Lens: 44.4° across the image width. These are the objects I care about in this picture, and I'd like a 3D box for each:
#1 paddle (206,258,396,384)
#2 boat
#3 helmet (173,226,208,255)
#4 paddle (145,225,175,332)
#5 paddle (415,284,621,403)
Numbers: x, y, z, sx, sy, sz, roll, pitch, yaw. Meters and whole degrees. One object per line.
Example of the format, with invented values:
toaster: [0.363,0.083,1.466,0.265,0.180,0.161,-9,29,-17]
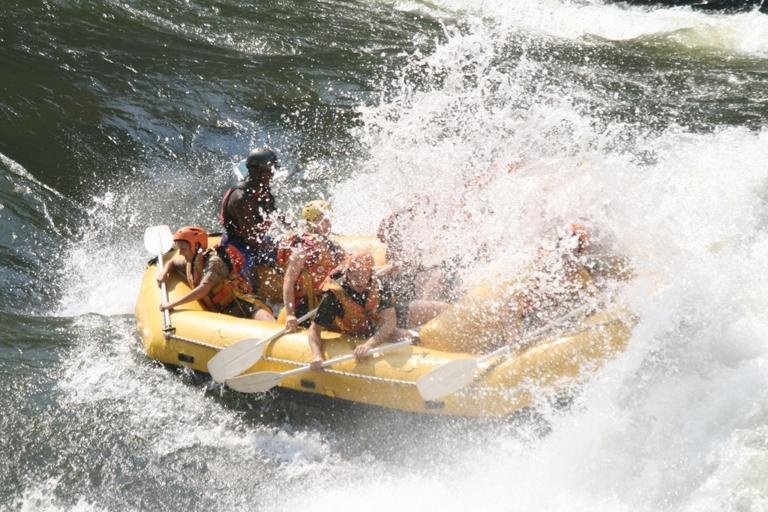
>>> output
paddle: [-1.037,0.913,12.415,2.891,0.244,0.396,-31,85,-4]
boat: [-0.112,1.203,12.293,4.782,0.783,2.532,7,35,10]
helmet: [-2.668,-0.259,13.172,0.458,0.330,0.331,-23,25,-13]
paddle: [-3.119,0.194,13.311,0.427,0.160,1.849,-5,56,-13]
paddle: [1.826,1.175,12.060,3.103,0.166,0.413,-26,87,-11]
